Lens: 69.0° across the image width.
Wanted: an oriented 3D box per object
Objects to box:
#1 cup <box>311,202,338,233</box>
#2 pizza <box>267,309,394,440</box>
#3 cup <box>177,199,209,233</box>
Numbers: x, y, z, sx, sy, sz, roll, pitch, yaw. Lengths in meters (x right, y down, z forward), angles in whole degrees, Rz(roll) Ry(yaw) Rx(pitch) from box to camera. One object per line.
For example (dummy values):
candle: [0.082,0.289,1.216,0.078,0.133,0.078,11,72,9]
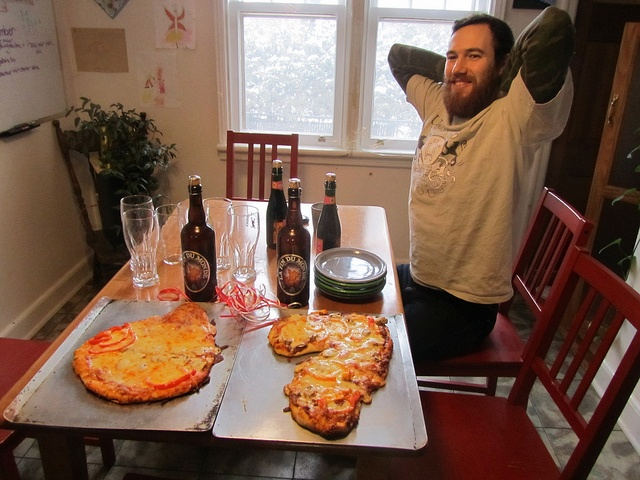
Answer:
cup: [0.017,-0.095,1.914,0.094,0.117,0.100,0,18,0]
pizza: [0.031,0.331,1.246,0.324,0.053,0.541,-1,19,-5]
cup: [-0.422,-0.085,1.550,0.107,0.131,0.129,1,-8,-1]
